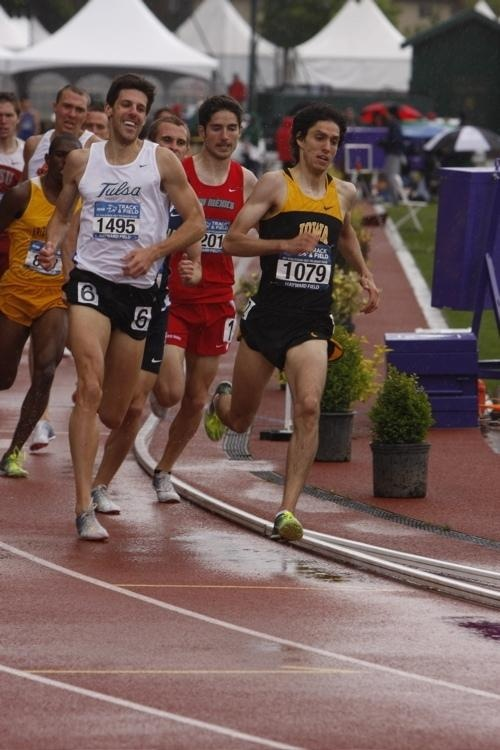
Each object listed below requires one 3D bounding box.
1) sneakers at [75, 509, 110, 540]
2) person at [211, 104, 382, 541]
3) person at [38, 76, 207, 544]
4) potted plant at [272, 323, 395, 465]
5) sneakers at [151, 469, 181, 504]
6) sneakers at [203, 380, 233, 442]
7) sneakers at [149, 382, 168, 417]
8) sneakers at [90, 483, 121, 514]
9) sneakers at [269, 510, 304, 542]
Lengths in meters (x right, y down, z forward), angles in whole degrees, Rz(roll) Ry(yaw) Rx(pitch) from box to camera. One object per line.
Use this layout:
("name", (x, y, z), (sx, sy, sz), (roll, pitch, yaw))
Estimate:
("sneakers", (-0.871, 0.814, 4.501), (0.120, 0.097, 0.235), (-1, 1, -27))
("person", (0.147, -0.438, 4.597), (0.681, 2.147, 0.999), (8, 11, 5))
("person", (-0.766, -0.387, 4.606), (0.649, 2.516, 0.797), (-3, 14, -40))
("potted plant", (0.612, 0.196, 7.136), (0.838, 1.019, 0.739), (-1, -1, -4))
("sneakers", (-0.580, 0.751, 5.573), (0.124, 0.115, 0.296), (-2, 16, -22))
("sneakers", (-0.263, 0.274, 5.968), (0.188, 0.478, 0.202), (8, 23, 0))
("sneakers", (-0.800, 0.204, 6.719), (0.110, 0.290, 0.245), (2, 0, -22))
("sneakers", (-0.932, 0.781, 5.209), (0.101, 0.111, 0.279), (-1, 0, -28))
("sneakers", (0.183, 0.773, 4.220), (0.110, 0.120, 0.270), (-8, -16, -10))
